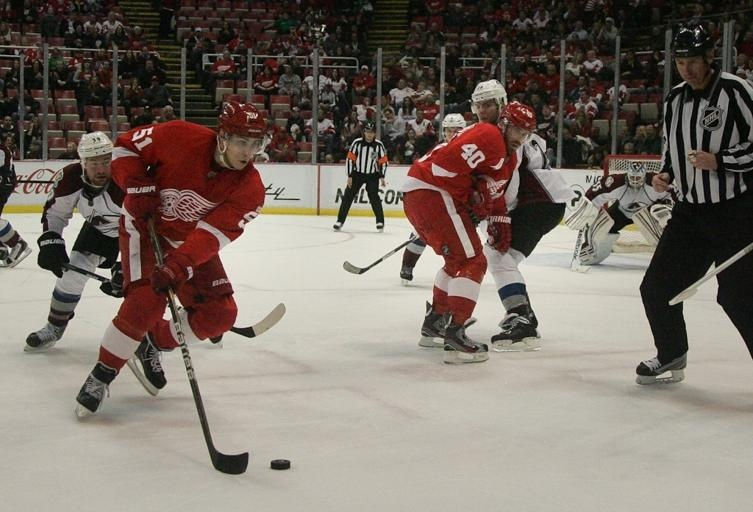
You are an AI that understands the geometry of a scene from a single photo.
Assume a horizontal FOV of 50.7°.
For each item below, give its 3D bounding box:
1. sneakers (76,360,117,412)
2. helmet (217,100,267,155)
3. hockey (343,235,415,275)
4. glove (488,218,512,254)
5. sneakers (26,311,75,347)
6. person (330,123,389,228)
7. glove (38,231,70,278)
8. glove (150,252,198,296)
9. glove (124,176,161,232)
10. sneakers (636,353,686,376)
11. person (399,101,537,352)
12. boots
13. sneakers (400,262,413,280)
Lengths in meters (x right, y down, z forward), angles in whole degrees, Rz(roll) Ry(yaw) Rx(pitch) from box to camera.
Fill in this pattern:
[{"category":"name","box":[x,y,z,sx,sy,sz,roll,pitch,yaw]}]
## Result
[{"category":"sneakers","box":[-1.388,0.628,4.025,0.116,0.149,0.352,38,14,-23]},{"category":"helmet","box":[-0.655,-0.621,3.889,0.225,0.246,0.217,-2,15,-11]},{"category":"hockey","box":[0.021,0.003,8.371,0.123,0.625,0.085,45,14,-36]},{"category":"glove","box":[0.801,-0.140,5.190,0.178,0.194,0.098,0,-1,23]},{"category":"sneakers","box":[-2.064,0.494,4.989,0.288,0.115,0.090,-1,-19,37]},{"category":"person","box":[-0.228,-1.095,11.249,0.695,1.451,1.275,1,15,1]},{"category":"glove","box":[-1.982,-0.012,4.838,0.244,0.259,0.104,-6,8,0]},{"category":"glove","box":[-0.971,0.085,3.870,0.209,0.201,0.091,-39,-15,-21]},{"category":"glove","box":[-1.150,-0.271,3.916,0.120,0.221,0.202,-2,1,4]},{"category":"sneakers","box":[1.566,0.603,4.404,0.317,0.111,0.110,-1,4,3]},{"category":"person","box":[0.613,-0.158,4.953,0.779,1.567,0.714,-4,17,-15]},{"category":"boots","box":[0.767,0.477,5.081,0.552,0.224,0.433,2,7,37]},{"category":"sneakers","box":[0.275,0.156,7.206,0.123,0.127,0.149,4,-5,-7]}]
